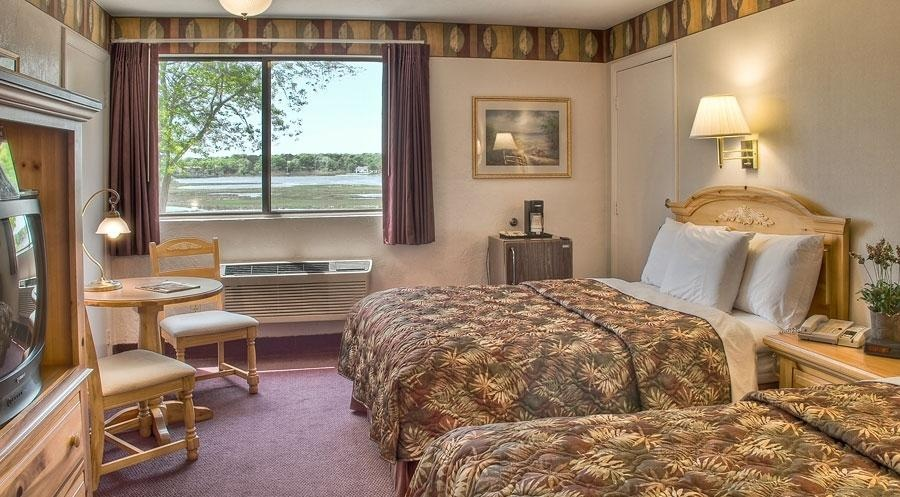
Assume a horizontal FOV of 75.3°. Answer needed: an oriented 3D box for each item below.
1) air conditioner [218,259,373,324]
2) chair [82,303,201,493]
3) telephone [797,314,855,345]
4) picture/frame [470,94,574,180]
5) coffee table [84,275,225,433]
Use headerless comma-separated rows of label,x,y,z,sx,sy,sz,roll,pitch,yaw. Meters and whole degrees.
air conditioner,-1.812,0.533,6.458,1.763,0.785,0.419,0,6,-40
chair,-2.624,1.051,4.573,0.930,1.269,0.933,3,6,30
telephone,2.872,0.613,4.461,0.271,0.089,0.292,-1,17,43
picture/frame,0.786,-1.326,6.789,1.115,0.766,0.042,-1,3,-3
coffee table,-2.550,0.876,5.382,1.318,1.187,1.252,3,11,4
